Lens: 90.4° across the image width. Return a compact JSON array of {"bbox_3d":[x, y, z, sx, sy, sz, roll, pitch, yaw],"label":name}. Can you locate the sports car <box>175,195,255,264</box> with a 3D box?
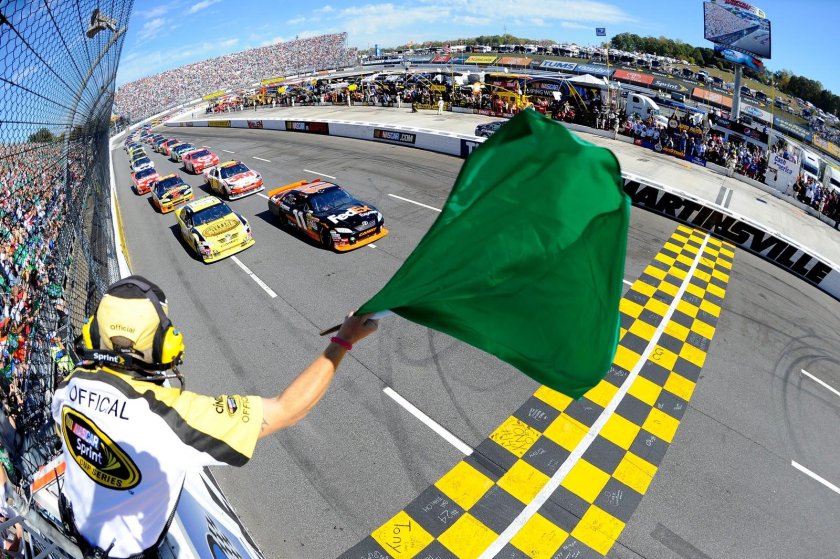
[{"bbox_3d":[-7.091,-1.994,14.243,1.877,1.077,3.212,-32,49,-27],"label":"sports car"}]

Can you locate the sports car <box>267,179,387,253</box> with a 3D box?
[{"bbox_3d":[-0.844,-2.167,15.318,2.541,2.144,6.435,-4,6,-39],"label":"sports car"}]

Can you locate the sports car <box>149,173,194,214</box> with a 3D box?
[{"bbox_3d":[-11.117,-4.020,18.677,1.736,0.903,2.674,-23,40,-17],"label":"sports car"}]

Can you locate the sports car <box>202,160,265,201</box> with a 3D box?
[{"bbox_3d":[-8.544,-4.590,18.990,3.254,0.965,1.722,26,46,36],"label":"sports car"}]
